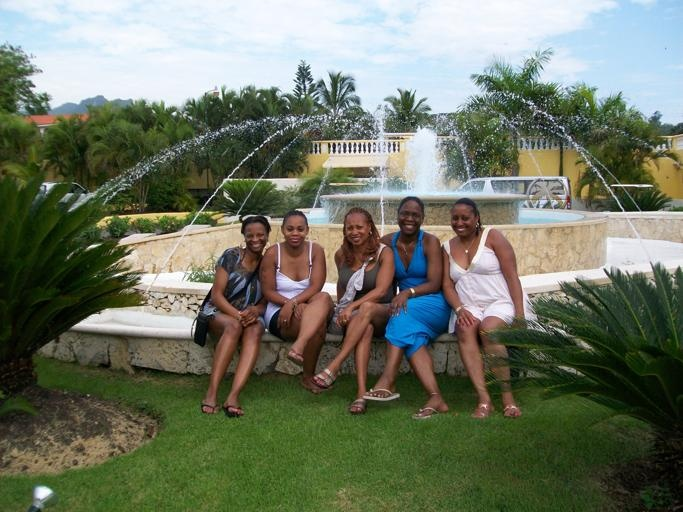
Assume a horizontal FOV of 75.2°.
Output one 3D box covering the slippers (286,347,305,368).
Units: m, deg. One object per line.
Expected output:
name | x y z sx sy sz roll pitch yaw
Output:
slippers | -0.378 0.844 3.796 0.110 0.207 0.074 -8 39 54

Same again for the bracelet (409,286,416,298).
bracelet | 0.672 0.332 4.146 0.060 0.069 0.069 -2 47 0

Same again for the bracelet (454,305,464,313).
bracelet | 1.077 0.479 4.040 0.062 0.060 0.105 0 11 9

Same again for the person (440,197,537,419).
person | 1.251 0.402 3.740 0.707 1.689 1.412 0 11 10

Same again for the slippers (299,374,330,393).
slippers | -0.283 1.188 4.151 0.131 0.160 0.361 -10 7 -44

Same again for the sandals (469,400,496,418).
sandals | 1.131 1.224 3.543 0.077 0.108 0.239 -5 -18 29

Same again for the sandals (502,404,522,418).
sandals | 1.372 1.228 3.548 0.142 0.065 0.139 1 11 13

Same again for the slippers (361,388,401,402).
slippers | 0.345 1.172 3.782 0.266 0.090 0.134 10 -16 -32

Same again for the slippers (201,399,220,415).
slippers | -1.105 1.252 3.720 0.147 0.087 0.102 -3 11 -8

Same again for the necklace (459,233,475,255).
necklace | 1.205 -0.110 4.203 0.101 0.152 0.034 -12 -15 28

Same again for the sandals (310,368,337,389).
sandals | -0.145 1.062 3.812 0.194 0.194 0.100 -9 13 -35

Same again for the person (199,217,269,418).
person | -0.993 0.456 3.993 0.694 1.544 1.005 -3 10 -6

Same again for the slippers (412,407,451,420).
slippers | 0.719 1.239 3.586 0.263 0.072 0.106 2 -5 -17

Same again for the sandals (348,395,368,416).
sandals | 0.138 1.231 3.687 0.143 0.113 0.111 -2 11 -4

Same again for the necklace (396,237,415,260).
necklace | 0.634 -0.080 4.296 0.127 0.228 0.110 -2 -9 4

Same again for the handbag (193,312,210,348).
handbag | -1.310 0.684 4.143 0.195 0.286 0.085 -2 -4 38
